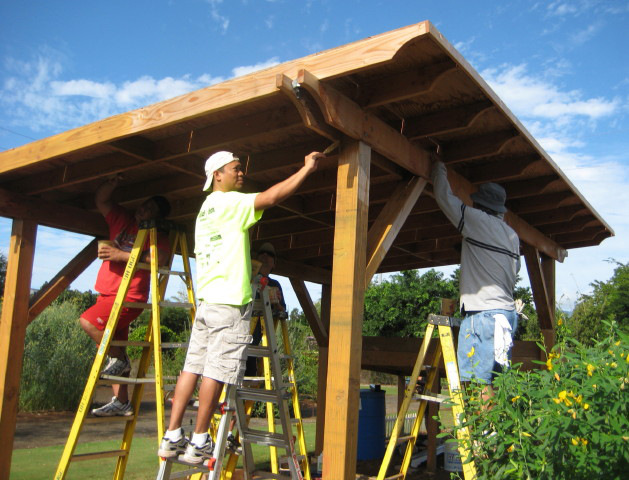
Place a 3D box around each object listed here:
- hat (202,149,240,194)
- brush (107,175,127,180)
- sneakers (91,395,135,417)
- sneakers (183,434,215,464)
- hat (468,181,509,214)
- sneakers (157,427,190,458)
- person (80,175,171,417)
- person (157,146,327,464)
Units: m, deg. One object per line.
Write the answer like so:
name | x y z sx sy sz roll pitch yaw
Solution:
hat | -0.770 -0.636 4.067 0.277 0.203 0.217 -31 -52 -19
brush | -2.210 -0.703 5.554 0.103 0.038 0.080 -8 -5 39
sneakers | -1.999 1.684 4.984 0.449 0.248 0.173 18 -23 -34
sneakers | -0.846 1.577 3.738 0.147 0.183 0.381 0 -16 14
hat | 1.815 -0.426 4.999 0.367 0.246 0.454 19 14 19
sneakers | -1.034 1.544 3.765 0.153 0.196 0.377 -1 -16 22
person | -2.140 0.450 5.655 0.988 0.620 2.788 0 -58 -34
person | -0.746 0.432 4.090 0.954 2.473 1.033 5 -1 -36
